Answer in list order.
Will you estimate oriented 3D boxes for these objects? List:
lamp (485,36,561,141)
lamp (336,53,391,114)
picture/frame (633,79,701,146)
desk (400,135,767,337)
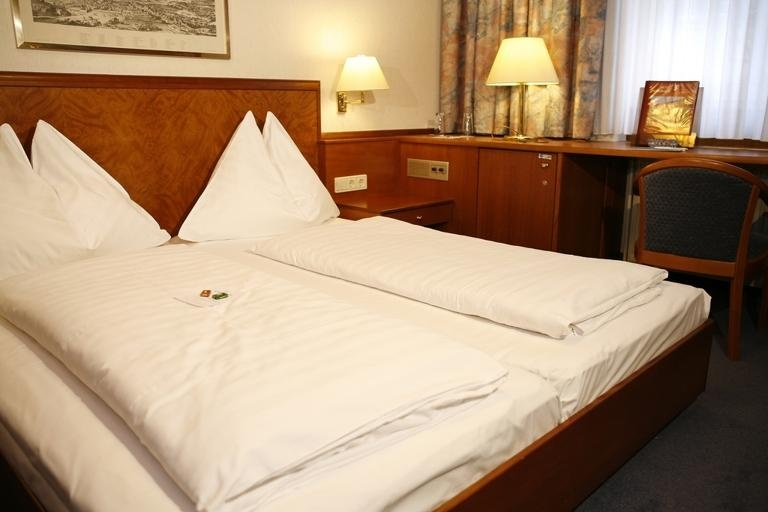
[{"bbox_3d":[0.993,-1.318,3.984,0.659,0.909,0.708,-1,20,5],"label":"lamp"},{"bbox_3d":[-0.170,-1.272,3.749,0.401,0.438,0.417,-17,21,-42],"label":"lamp"},{"bbox_3d":[1.992,-1.015,3.472,0.357,0.442,0.244,10,13,33],"label":"picture/frame"},{"bbox_3d":[1.212,-0.138,2.825,1.207,0.718,0.405,11,17,40],"label":"desk"}]
